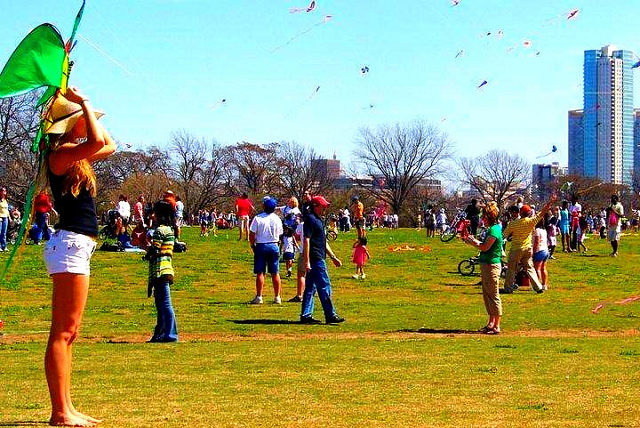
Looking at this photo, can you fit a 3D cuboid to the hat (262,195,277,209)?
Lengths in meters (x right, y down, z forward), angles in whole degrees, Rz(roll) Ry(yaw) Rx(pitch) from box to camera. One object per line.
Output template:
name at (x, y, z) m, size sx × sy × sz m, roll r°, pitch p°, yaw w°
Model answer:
hat at (-1.299, -0.342, 28.753) m, size 0.299 × 0.216 × 0.432 m, roll -14°, pitch 36°, yaw -5°

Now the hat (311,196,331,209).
hat at (0.053, -0.288, 26.234) m, size 0.369 × 0.189 × 0.242 m, roll 20°, pitch 14°, yaw -9°

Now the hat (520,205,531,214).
hat at (5.523, -0.144, 29.605) m, size 0.281 × 0.229 × 0.506 m, roll -2°, pitch -3°, yaw 10°

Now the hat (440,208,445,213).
hat at (6.947, -0.218, 62.552) m, size 0.253 × 0.217 × 0.290 m, roll 5°, pitch -25°, yaw 16°
